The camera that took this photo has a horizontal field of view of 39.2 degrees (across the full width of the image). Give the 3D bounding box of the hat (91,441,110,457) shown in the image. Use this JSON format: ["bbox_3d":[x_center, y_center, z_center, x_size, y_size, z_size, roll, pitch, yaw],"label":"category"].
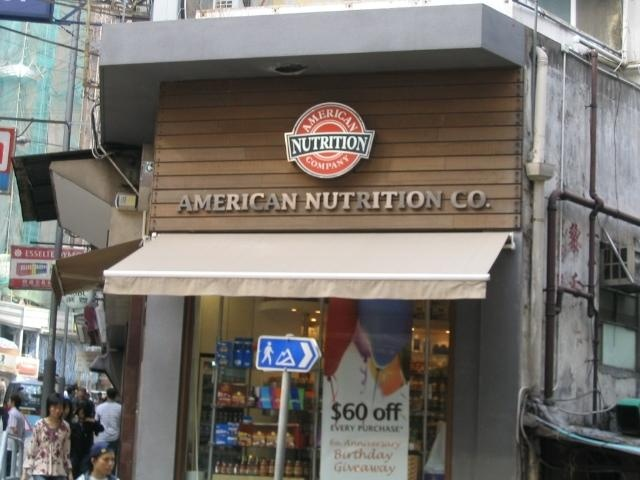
[{"bbox_3d":[-2.616,2.464,10.740,0.163,0.195,0.153,-4,-8,39],"label":"hat"}]
